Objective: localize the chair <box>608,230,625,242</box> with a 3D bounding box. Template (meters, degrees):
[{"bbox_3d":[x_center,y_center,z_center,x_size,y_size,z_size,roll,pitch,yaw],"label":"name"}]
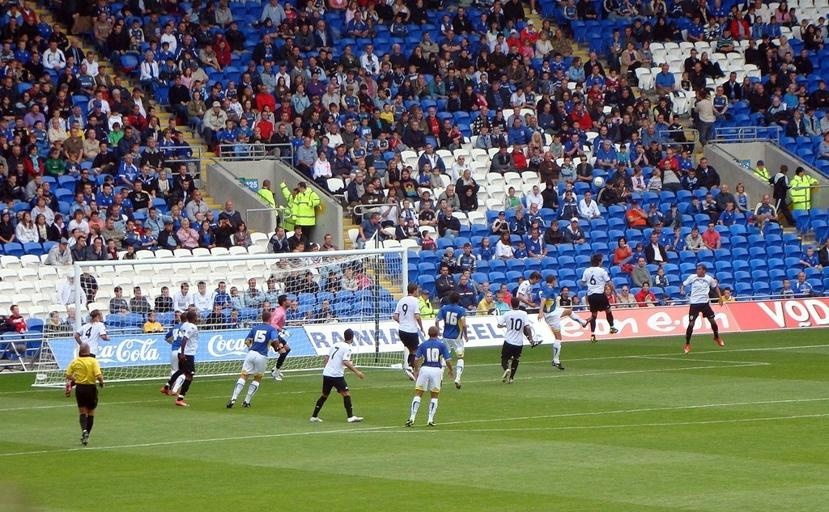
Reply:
[{"bbox_3d":[7.739,-0.783,50.959,0.471,0.399,0.477,0,0,-8],"label":"chair"}]

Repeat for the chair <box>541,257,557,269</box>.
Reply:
[{"bbox_3d":[5.025,0.251,49.302,0.699,0.370,0.178,-4,1,-30],"label":"chair"}]

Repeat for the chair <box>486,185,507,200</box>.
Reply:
[{"bbox_3d":[3.175,-2.503,51.528,0.566,0.679,0.631,0,-3,-11],"label":"chair"}]

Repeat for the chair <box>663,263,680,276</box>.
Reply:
[{"bbox_3d":[9.698,0.495,50.124,0.474,0.461,0.491,0,2,2],"label":"chair"}]

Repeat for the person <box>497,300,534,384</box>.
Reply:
[{"bbox_3d":[3.036,2.504,39.835,1.280,2.510,1.151,4,7,-12],"label":"person"}]

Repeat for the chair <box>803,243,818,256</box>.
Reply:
[{"bbox_3d":[15.373,-0.256,51.656,0.420,0.525,0.545,-1,-6,21],"label":"chair"}]

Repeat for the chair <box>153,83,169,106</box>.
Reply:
[{"bbox_3d":[-9.685,-6.227,50.968,0.655,0.724,0.832,-6,-40,-13],"label":"chair"}]

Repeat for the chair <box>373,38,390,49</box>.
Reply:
[{"bbox_3d":[-1.377,-8.808,55.249,0.642,0.573,0.456,-1,12,-27],"label":"chair"}]

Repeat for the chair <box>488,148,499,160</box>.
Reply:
[{"bbox_3d":[3.088,-4.097,52.473,0.370,0.562,0.421,1,5,-1],"label":"chair"}]

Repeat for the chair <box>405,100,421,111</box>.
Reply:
[{"bbox_3d":[-0.112,-6.015,52.808,0.616,0.384,1.588,-3,1,0],"label":"chair"}]

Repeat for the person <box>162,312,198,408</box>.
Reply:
[{"bbox_3d":[-6.807,2.923,38.381,1.016,2.832,1.039,3,-1,6],"label":"person"}]

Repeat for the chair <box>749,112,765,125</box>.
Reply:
[{"bbox_3d":[14.687,-5.874,56.908,0.446,0.588,0.558,-3,28,14],"label":"chair"}]

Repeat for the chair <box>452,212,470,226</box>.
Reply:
[{"bbox_3d":[1.781,-1.418,49.934,0.538,0.665,0.542,0,-3,-7],"label":"chair"}]

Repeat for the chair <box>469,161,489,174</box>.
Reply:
[{"bbox_3d":[2.552,-3.472,52.216,0.572,0.677,0.597,1,-6,-8],"label":"chair"}]

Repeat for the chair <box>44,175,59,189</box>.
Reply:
[{"bbox_3d":[-12.731,-2.599,46.477,0.492,0.545,0.518,-4,1,-9],"label":"chair"}]

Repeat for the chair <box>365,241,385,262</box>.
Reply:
[{"bbox_3d":[-1.427,-0.211,47.398,0.714,0.887,0.757,1,-4,-2],"label":"chair"}]

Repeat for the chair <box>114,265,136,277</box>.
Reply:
[{"bbox_3d":[-9.577,0.459,43.993,0.447,0.555,0.473,1,-4,-10],"label":"chair"}]

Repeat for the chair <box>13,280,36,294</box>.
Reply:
[{"bbox_3d":[-12.830,1.015,43.740,0.477,0.599,0.491,1,-3,-16],"label":"chair"}]

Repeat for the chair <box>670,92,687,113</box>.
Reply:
[{"bbox_3d":[11.299,-6.521,56.678,0.688,0.928,0.701,-1,-16,-4],"label":"chair"}]

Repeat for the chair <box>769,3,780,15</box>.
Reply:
[{"bbox_3d":[16.386,-11.260,60.537,0.538,0.673,0.569,2,5,24],"label":"chair"}]

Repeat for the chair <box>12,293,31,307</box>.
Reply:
[{"bbox_3d":[-12.875,1.428,43.527,0.416,0.486,0.449,1,-7,-17],"label":"chair"}]

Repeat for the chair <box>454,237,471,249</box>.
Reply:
[{"bbox_3d":[1.766,-0.506,49.025,0.451,0.517,0.473,1,-6,-7],"label":"chair"}]

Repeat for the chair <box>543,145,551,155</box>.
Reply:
[{"bbox_3d":[5.280,-4.256,52.841,0.316,0.315,0.311,13,-29,-9],"label":"chair"}]

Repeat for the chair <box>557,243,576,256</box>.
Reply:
[{"bbox_3d":[5.677,-0.255,49.908,0.501,0.519,0.473,-3,-13,12],"label":"chair"}]

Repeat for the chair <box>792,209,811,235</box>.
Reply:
[{"bbox_3d":[15.676,-1.377,53.644,0.911,0.963,0.881,3,7,45],"label":"chair"}]

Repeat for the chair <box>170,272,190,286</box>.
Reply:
[{"bbox_3d":[-7.781,0.715,44.028,0.542,0.651,0.544,1,-4,-13],"label":"chair"}]

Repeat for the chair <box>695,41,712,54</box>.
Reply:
[{"bbox_3d":[12.709,-9.325,58.976,0.656,0.704,0.662,-2,2,-19],"label":"chair"}]

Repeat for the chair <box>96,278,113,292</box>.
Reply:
[{"bbox_3d":[-9.918,0.903,42.501,0.405,0.484,0.409,2,-5,-21],"label":"chair"}]

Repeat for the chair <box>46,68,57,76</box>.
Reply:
[{"bbox_3d":[-13.492,-6.875,49.566,0.285,0.198,0.281,-3,9,-23],"label":"chair"}]

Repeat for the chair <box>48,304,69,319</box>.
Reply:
[{"bbox_3d":[-11.550,1.752,43.241,0.569,0.695,0.589,4,6,-20],"label":"chair"}]

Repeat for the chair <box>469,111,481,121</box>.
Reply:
[{"bbox_3d":[2.428,-5.679,53.773,0.374,0.542,0.404,0,2,-9],"label":"chair"}]

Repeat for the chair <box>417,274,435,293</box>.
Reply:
[{"bbox_3d":[0.461,0.939,47.682,0.759,0.680,0.524,2,12,0],"label":"chair"}]

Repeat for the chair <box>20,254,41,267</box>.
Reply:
[{"bbox_3d":[-12.781,0.143,44.190,0.434,0.524,0.499,1,-4,-22],"label":"chair"}]

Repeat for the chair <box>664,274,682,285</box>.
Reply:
[{"bbox_3d":[9.776,0.872,49.924,0.477,0.445,0.389,0,-5,-3],"label":"chair"}]

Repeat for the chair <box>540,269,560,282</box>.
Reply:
[{"bbox_3d":[4.986,0.652,48.817,0.516,0.450,0.528,1,7,4],"label":"chair"}]

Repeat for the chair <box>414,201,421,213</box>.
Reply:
[{"bbox_3d":[0.140,-1.853,49.879,0.325,0.496,0.371,1,0,-3],"label":"chair"}]

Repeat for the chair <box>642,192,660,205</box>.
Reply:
[{"bbox_3d":[9.411,-2.344,52.769,0.474,0.504,0.537,7,16,18],"label":"chair"}]

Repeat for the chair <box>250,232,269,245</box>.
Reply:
[{"bbox_3d":[-5.577,-0.637,47.802,0.470,0.621,0.484,0,0,-18],"label":"chair"}]

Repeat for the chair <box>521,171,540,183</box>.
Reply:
[{"bbox_3d":[4.547,-3.089,52.186,0.748,0.401,0.194,-4,1,-34],"label":"chair"}]

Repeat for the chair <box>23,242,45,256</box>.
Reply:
[{"bbox_3d":[-12.809,-0.257,44.781,0.524,0.600,0.506,2,-6,-23],"label":"chair"}]

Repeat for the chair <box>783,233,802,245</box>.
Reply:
[{"bbox_3d":[15.019,-0.664,53.006,0.552,0.707,0.580,4,15,7],"label":"chair"}]

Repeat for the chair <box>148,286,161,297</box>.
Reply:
[{"bbox_3d":[-8.372,1.159,42.755,0.296,0.429,0.333,13,-7,-6],"label":"chair"}]

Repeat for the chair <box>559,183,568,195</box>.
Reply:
[{"bbox_3d":[5.855,-2.631,52.014,0.454,0.407,0.345,-5,5,-25],"label":"chair"}]

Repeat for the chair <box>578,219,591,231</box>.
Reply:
[{"bbox_3d":[6.548,-1.194,51.037,0.413,0.443,0.434,-1,11,-24],"label":"chair"}]

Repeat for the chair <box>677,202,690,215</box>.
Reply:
[{"bbox_3d":[10.625,-1.893,52.748,0.464,0.394,0.420,0,5,-14],"label":"chair"}]

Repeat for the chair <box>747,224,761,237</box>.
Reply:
[{"bbox_3d":[13.387,-1.015,52.344,0.432,0.415,0.419,1,3,-4],"label":"chair"}]

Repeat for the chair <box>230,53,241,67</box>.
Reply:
[{"bbox_3d":[-7.062,-7.816,52.857,0.457,0.532,0.497,1,-1,-5],"label":"chair"}]

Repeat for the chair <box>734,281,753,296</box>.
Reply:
[{"bbox_3d":[12.671,1.246,51.048,0.578,0.625,0.502,-2,23,-3],"label":"chair"}]

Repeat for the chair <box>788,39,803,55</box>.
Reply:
[{"bbox_3d":[16.974,-9.322,59.301,0.782,0.670,0.589,-3,9,-25],"label":"chair"}]

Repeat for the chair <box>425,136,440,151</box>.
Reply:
[{"bbox_3d":[0.675,-4.446,51.982,0.471,0.587,0.545,0,1,-7],"label":"chair"}]

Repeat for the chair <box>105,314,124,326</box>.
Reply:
[{"bbox_3d":[-9.480,2.017,42.036,0.623,0.374,0.230,-3,1,2],"label":"chair"}]
